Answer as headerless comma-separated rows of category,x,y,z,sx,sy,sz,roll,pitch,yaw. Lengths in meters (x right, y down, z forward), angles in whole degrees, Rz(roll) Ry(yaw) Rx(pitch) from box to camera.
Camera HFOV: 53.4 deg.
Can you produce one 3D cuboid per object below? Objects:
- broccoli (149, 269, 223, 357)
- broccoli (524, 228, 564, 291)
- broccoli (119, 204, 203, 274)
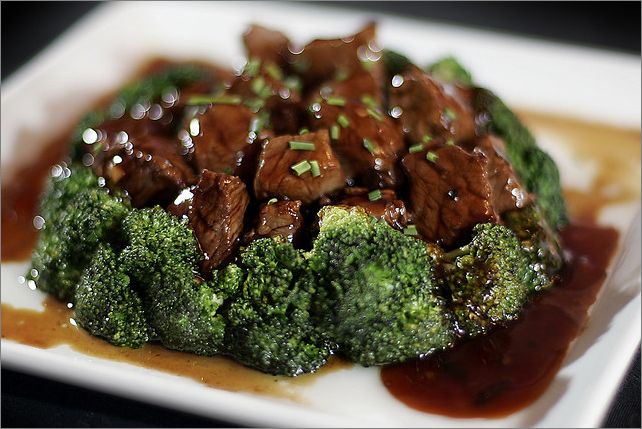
broccoli,-0.644,0.478,3.362,0.433,0.351,0.145,54,15,7
broccoli,1.180,0.241,3.419,0.243,0.103,0.325,13,63,-11
broccoli,-0.815,0.120,3.242,0.327,0.183,0.307,12,77,6
